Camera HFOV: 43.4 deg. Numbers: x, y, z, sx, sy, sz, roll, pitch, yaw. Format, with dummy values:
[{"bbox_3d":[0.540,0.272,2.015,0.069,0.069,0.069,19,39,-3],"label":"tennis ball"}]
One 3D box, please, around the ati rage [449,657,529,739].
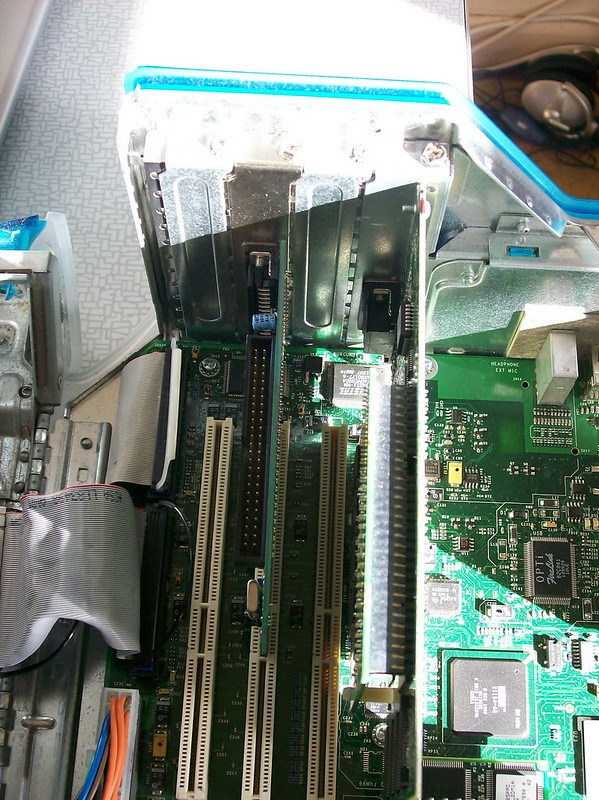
[{"bbox_3d":[1.143,1.795,4.561,0.480,0.203,0.391,5,45,-3],"label":"ati rage"}]
